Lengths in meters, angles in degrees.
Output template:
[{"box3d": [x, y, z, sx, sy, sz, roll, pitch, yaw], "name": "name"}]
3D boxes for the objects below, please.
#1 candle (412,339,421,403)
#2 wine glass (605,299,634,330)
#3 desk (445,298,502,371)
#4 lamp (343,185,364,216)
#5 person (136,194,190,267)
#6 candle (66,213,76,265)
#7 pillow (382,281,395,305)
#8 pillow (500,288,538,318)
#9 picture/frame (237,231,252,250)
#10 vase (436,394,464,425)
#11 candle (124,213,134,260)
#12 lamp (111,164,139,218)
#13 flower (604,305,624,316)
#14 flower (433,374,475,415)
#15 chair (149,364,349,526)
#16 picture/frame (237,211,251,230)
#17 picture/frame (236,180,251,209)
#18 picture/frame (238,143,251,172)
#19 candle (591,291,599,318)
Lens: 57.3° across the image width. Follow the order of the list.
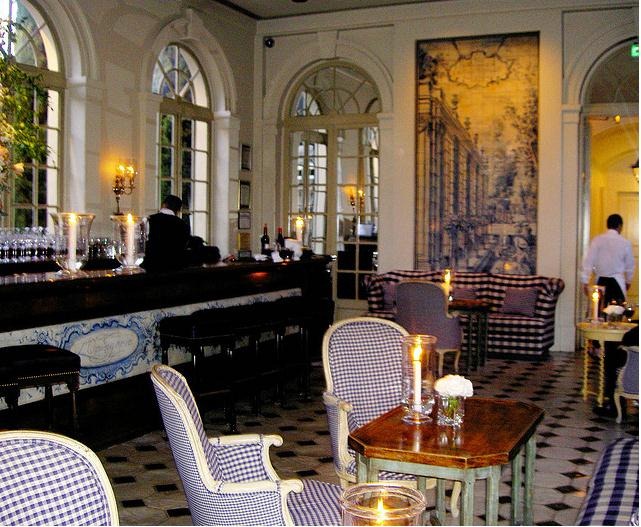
[{"box3d": [0.431, 0.497, 2.611, 0.042, 0.324, 0.107, 0, 2, 10], "name": "candle"}, {"box3d": [3.277, 0.552, 6.446, 0.279, 0.287, 0.289, -11, 2, 7], "name": "wine glass"}, {"box3d": [1.975, 1.034, 8.099, 0.898, 1.125, 0.847, 1, 1, 11], "name": "desk"}, {"box3d": [0.588, -1.137, 10.350, 0.481, 0.463, 0.117, 11, 14, 34], "name": "lamp"}, {"box3d": [-1.643, -0.112, 6.213, 0.375, 1.258, 0.391, 12, 21, 5], "name": "person"}, {"box3d": [-1.838, -0.161, 4.324, 0.061, 0.394, 0.176, -1, 2, -24], "name": "candle"}, {"box3d": [1.075, 0.475, 9.423, 0.336, 0.394, 0.153, -1, -7, -3], "name": "pillow"}, {"box3d": [2.991, 0.586, 8.781, 0.398, 0.378, 0.149, -1, -23, 34], "name": "pillow"}, {"box3d": [-0.896, -0.268, 6.708, 0.038, 0.284, 0.247, -7, -6, 45], "name": "picture/frame"}, {"box3d": [0.576, 0.654, 2.691, 0.133, 0.146, 0.131, 0, 3, -3], "name": "vase"}, {"box3d": [-1.580, -0.187, 4.812, 0.098, 0.416, 0.341, -1, 2, -18], "name": "candle"}, {"box3d": [-2.761, -1.064, 8.249, 0.183, 0.721, 0.523, 0, 2, 18], "name": "lamp"}, {"box3d": [3.068, 0.484, 6.111, 0.170, 0.118, 0.241, 1, 2, 27], "name": "flower"}, {"box3d": [0.587, 0.567, 2.650, 0.166, 0.163, 0.160, -2, 4, -24], "name": "flower"}, {"box3d": [-0.283, 0.748, 2.694, 0.845, 0.899, 0.639, -5, 6, -11], "name": "chair"}, {"box3d": [-1.403, -0.787, 10.506, 0.053, 0.277, 0.396, 0, 2, 22], "name": "picture/frame"}, {"box3d": [-1.407, -1.247, 10.475, 0.048, 0.499, 0.508, -1, -8, 23], "name": "picture/frame"}, {"box3d": [-1.390, -1.910, 10.494, 0.058, 0.567, 0.575, 0, -1, 21], "name": "picture/frame"}, {"box3d": [2.864, 0.420, 6.106, 0.051, 0.295, 0.354, 1, 2, 24], "name": "candle"}]
